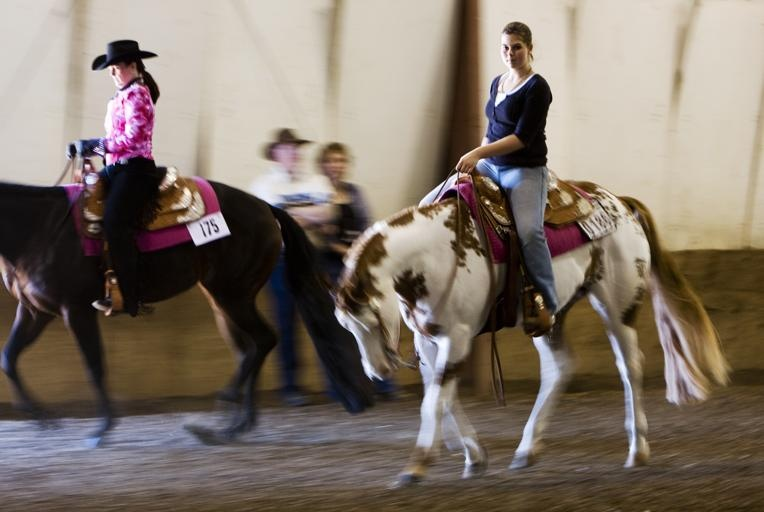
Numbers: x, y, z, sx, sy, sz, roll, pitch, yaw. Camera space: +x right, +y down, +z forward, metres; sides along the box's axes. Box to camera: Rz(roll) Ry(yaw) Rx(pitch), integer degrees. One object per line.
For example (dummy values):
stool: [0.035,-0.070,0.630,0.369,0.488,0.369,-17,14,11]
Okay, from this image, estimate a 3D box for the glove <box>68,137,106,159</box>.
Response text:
glove: [-2.005,-0.731,5.174,0.252,0.100,0.133,-9,35,24]

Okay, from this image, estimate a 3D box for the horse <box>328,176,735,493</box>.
horse: [1.003,0.427,4.704,2.517,1.627,0.614,-5,-9,-17]

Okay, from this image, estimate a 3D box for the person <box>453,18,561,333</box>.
person: [0.769,-0.442,4.577,0.610,1.898,0.451,1,9,12]
